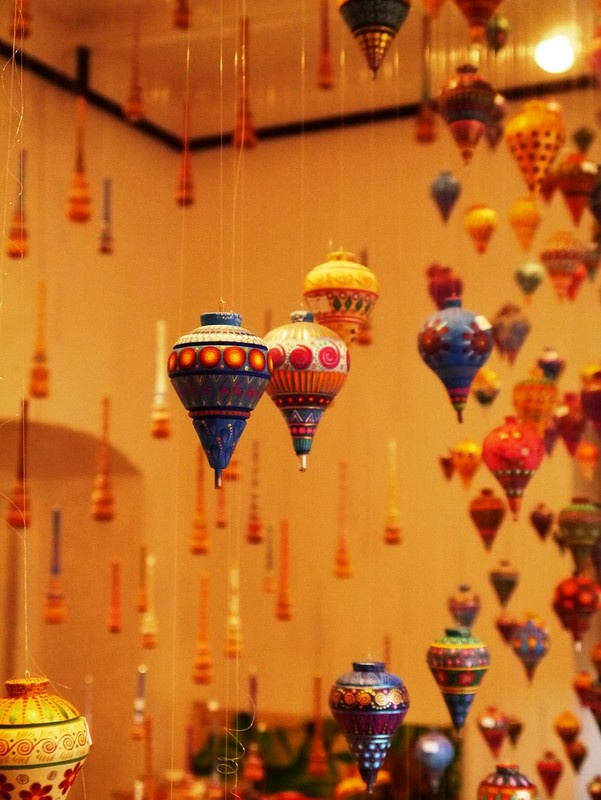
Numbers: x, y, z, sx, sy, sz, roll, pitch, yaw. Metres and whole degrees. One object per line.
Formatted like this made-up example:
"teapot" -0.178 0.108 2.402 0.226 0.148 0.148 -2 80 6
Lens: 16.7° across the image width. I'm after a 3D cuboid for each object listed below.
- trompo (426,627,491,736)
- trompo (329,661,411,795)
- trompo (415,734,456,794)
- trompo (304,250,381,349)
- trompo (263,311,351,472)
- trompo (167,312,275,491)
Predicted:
"trompo" 0.457 0.805 5.886 0.185 0.319 0.180 -3 5 -38
"trompo" 0.188 0.885 5.570 0.219 0.347 0.176 -3 -9 10
"trompo" 0.473 1.253 7.091 0.138 0.219 0.174 -2 -9 4
"trompo" 0.132 -0.268 5.903 0.215 0.374 0.236 -2 -7 7
"trompo" -0.011 -0.029 5.677 0.369 0.457 0.220 6 -11 -39
"trompo" -0.219 0.015 5.420 0.227 0.411 0.186 -7 -10 33
